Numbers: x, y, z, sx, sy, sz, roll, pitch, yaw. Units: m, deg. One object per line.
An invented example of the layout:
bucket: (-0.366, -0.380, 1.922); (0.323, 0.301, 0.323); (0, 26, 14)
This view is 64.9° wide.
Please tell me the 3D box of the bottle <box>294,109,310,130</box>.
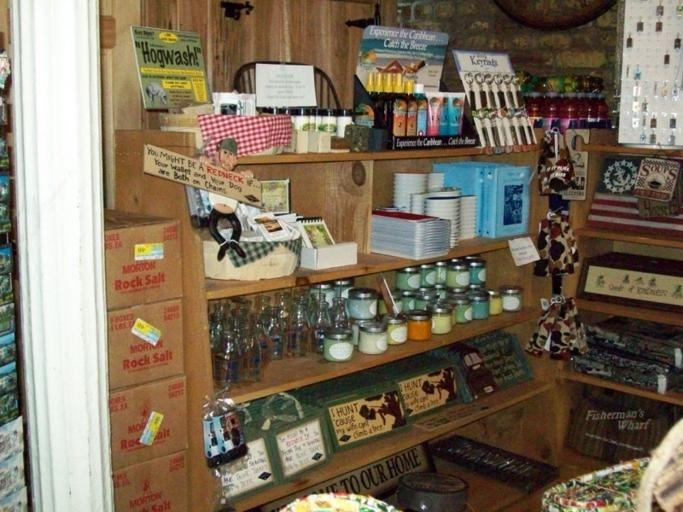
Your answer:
bottle: (-0.165, -0.587, 2.282); (0.091, 0.084, 0.082); (0, 11, -4)

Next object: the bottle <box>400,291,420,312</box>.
bottle: (0.380, 0.243, 2.966); (0.115, 0.102, 0.108); (2, 4, 19)

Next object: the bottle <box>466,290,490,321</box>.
bottle: (0.825, 0.280, 3.139); (0.170, 0.153, 0.164); (3, 7, 26)

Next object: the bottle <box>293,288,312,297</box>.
bottle: (-0.198, 0.174, 2.698); (0.054, 0.034, 0.053); (3, 4, 0)

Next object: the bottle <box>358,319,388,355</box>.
bottle: (0.159, 0.398, 2.645); (0.161, 0.127, 0.146); (1, 5, 0)

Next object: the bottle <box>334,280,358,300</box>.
bottle: (0.031, 0.168, 2.752); (0.099, 0.089, 0.093); (2, 4, 16)

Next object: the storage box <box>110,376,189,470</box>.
storage box: (-0.612, 0.585, 1.875); (0.331, 0.257, 0.178); (-19, -28, 13)

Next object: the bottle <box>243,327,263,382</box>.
bottle: (-0.379, 0.400, 2.272); (0.085, 0.237, 0.078); (-4, -5, 0)

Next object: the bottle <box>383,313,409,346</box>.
bottle: (0.275, 0.376, 2.754); (0.154, 0.119, 0.140); (0, 6, 0)

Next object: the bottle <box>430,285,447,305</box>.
bottle: (0.575, 0.215, 3.102); (0.108, 0.140, 0.099); (1, 4, 0)

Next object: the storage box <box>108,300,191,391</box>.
storage box: (-0.681, 0.285, 1.914); (0.288, 0.244, 0.279); (-5, 11, -30)

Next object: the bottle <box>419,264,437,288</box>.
bottle: (0.508, 0.104, 3.087); (0.133, 0.126, 0.126); (1, 3, 20)

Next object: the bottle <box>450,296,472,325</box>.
bottle: (0.689, 0.307, 3.140); (0.166, 0.149, 0.154); (1, 5, 10)

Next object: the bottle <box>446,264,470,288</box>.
bottle: (0.705, 0.114, 3.242); (0.149, 0.131, 0.142); (1, 1, 22)

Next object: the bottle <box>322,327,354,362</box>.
bottle: (-0.008, 0.405, 2.536); (0.164, 0.131, 0.152); (1, 6, 0)

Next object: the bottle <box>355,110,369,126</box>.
bottle: (0.101, -0.635, 2.457); (0.077, 0.069, 0.095); (-3, 16, 0)

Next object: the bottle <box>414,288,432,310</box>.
bottle: (0.470, 0.238, 3.018); (0.121, 0.108, 0.111); (2, 4, 1)

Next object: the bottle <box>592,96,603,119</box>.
bottle: (1.984, -1.151, 4.116); (0.122, 0.145, 0.055); (-11, 19, -24)

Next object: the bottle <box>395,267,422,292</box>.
bottle: (0.382, 0.124, 3.004); (0.152, 0.120, 0.140); (1, 3, 0)

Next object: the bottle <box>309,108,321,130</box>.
bottle: (-0.107, -0.595, 2.304); (0.068, 0.087, 0.025); (-17, 22, -38)

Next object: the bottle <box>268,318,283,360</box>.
bottle: (-0.305, 0.376, 2.496); (0.071, 0.199, 0.034); (-10, 18, -19)

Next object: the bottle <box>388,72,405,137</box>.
bottle: (0.298, -0.713, 2.531); (0.097, 0.310, 0.088); (-1, 21, 11)

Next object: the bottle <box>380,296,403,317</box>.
bottle: (0.260, 0.259, 2.861); (0.119, 0.097, 0.109); (-4, 9, -13)

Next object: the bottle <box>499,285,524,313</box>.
bottle: (1.062, 0.254, 3.306); (0.169, 0.147, 0.158); (1, 6, 14)

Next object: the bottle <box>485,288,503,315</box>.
bottle: (0.941, 0.266, 3.240); (0.157, 0.144, 0.150); (2, 6, 24)

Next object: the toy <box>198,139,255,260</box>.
toy: (-0.428, -0.208, 2.000); (0.137, 0.464, 0.202); (11, 22, 39)

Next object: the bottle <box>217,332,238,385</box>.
bottle: (-0.458, 0.407, 2.152); (0.091, 0.210, 0.104); (-5, 17, -5)

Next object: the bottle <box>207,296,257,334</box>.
bottle: (-0.487, 0.244, 2.305); (0.175, 0.146, 0.150); (2, 2, 34)

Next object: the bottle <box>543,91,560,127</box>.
bottle: (1.643, -1.133, 4.125); (0.111, 0.252, 0.096); (0, 18, 12)

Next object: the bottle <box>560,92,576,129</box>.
bottle: (1.761, -1.119, 4.098); (0.125, 0.256, 0.122); (-3, 17, 1)

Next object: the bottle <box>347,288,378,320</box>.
bottle: (0.115, 0.237, 2.752); (0.183, 0.126, 0.184); (1, 4, 0)

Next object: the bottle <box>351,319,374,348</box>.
bottle: (0.081, 0.376, 2.682); (0.138, 0.127, 0.128); (-2, 6, -25)

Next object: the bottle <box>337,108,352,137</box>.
bottle: (0.020, -0.609, 2.426); (0.111, 0.114, 0.044); (-11, 19, -25)

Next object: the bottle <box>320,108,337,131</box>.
bottle: (-0.053, -0.592, 2.324); (0.107, 0.100, 0.098); (0, 6, 5)

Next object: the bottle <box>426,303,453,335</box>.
bottle: (0.526, 0.338, 2.963); (0.173, 0.154, 0.159); (1, 5, 4)

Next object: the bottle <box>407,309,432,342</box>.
bottle: (0.414, 0.362, 2.868); (0.161, 0.131, 0.154); (3, 6, 25)

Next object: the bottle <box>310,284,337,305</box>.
bottle: (-0.082, 0.177, 2.663); (0.125, 0.113, 0.114); (-1, 5, -17)

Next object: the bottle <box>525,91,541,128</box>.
bottle: (1.531, -1.171, 4.230); (0.123, 0.261, 0.181); (-1, 17, 10)

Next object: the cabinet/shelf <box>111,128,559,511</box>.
cabinet/shelf: (-0.020, 0.258, 2.434); (0.786, 1.447, 2.453); (4, 5, 44)

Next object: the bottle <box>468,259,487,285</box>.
bottle: (0.840, 0.089, 3.263); (0.162, 0.146, 0.150); (0, 5, 7)

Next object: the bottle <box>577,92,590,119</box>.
bottle: (1.878, -1.160, 4.104); (0.084, 0.189, 0.093); (3, 18, 21)
